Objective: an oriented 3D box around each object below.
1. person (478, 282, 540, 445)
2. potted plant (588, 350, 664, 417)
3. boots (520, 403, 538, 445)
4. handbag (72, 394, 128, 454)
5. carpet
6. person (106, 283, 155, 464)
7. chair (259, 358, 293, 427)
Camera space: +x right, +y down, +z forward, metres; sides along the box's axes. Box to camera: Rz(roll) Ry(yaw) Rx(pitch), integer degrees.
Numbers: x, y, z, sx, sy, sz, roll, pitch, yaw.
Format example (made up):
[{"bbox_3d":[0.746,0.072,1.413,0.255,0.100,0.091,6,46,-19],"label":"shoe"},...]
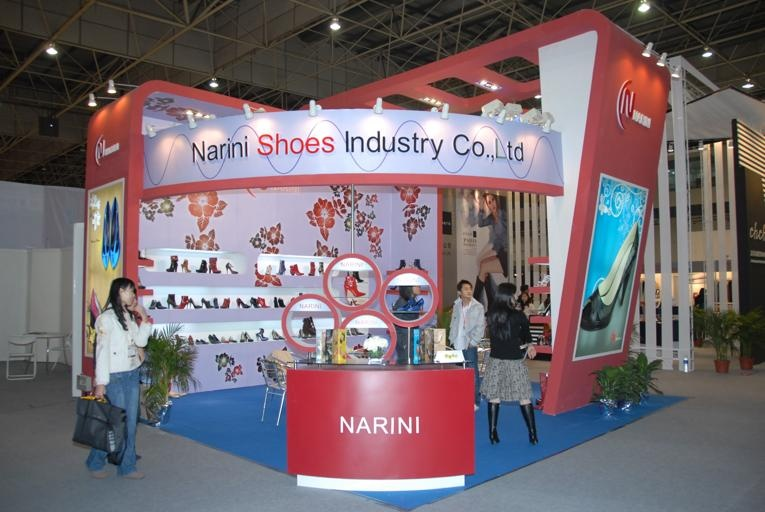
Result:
[{"bbox_3d":[1.626,1.331,7.024,0.651,1.992,0.576,1,2,34],"label":"person"},{"bbox_3d":[3.659,1.919,8.346,0.864,0.794,0.868,5,-1,-41],"label":"potted plant"},{"bbox_3d":[1.878,2.064,7.069,0.217,0.519,0.516,0,1,17],"label":"boots"},{"bbox_3d":[-3.012,1.714,5.921,0.515,0.592,0.195,12,6,6],"label":"handbag"},{"bbox_3d":[-0.007,2.317,7.718,7.112,0.234,3.993,0,2,20],"label":"carpet"},{"bbox_3d":[-2.835,1.320,6.032,0.400,2.155,0.531,0,1,10],"label":"person"},{"bbox_3d":[-1.487,1.848,7.920,0.474,0.708,0.422,8,2,4],"label":"chair"}]
